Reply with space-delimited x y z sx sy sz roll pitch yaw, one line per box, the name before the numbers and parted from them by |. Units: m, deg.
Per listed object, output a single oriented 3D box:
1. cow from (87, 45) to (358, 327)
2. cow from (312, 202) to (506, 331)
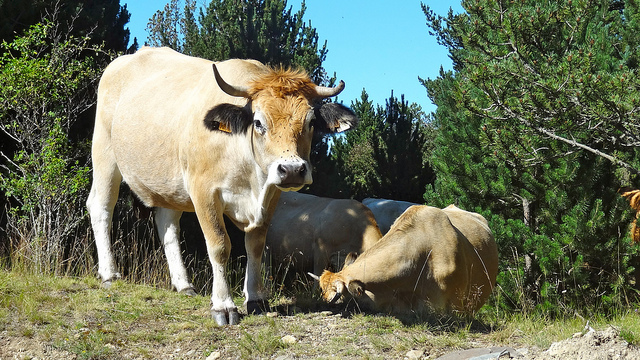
cow | -2.176 -0.233 13.198 5.215 6.130 1.638 -10 -14 33
cow | 1.943 1.594 13.409 4.962 3.041 1.810 -1 4 -34
